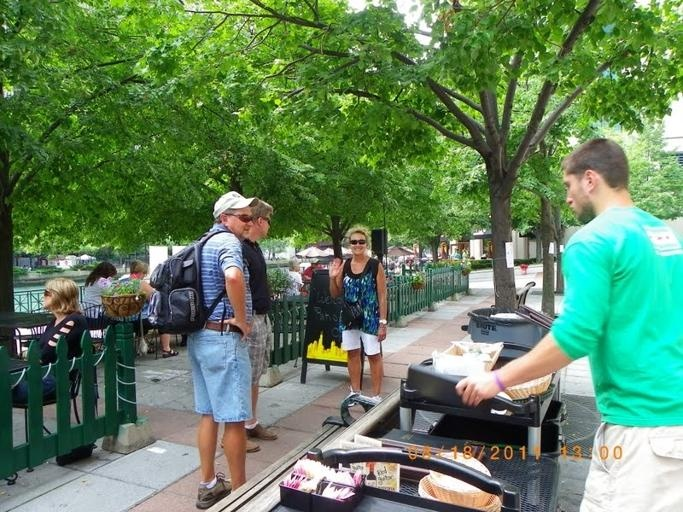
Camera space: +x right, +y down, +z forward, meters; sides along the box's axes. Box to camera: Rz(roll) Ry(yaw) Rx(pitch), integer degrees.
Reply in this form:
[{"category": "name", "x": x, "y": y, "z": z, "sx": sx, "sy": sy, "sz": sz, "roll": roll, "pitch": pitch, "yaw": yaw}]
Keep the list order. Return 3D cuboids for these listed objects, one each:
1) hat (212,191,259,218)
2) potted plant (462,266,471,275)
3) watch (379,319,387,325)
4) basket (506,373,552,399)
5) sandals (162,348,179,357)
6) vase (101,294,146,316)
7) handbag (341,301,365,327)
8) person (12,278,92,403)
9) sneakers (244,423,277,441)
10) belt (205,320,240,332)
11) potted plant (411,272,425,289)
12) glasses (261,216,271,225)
[{"category": "hat", "x": -0.954, "y": -0.425, "z": 4.764, "sx": 0.323, "sy": 0.170, "sz": 0.213, "roll": -29, "pitch": 11, "yaw": 1}, {"category": "potted plant", "x": 5.122, "y": 0.633, "z": 22.209, "sx": 0.320, "sy": 0.239, "sz": 0.332, "roll": 2, "pitch": 10, "yaw": 8}, {"category": "watch", "x": 0.496, "y": 0.768, "z": 6.334, "sx": 0.073, "sy": 0.051, "sz": 0.076, "roll": 1, "pitch": -4, "yaw": 1}, {"category": "basket", "x": 1.155, "y": 0.813, "z": 3.317, "sx": 0.234, "sy": 0.074, "sz": 0.236, "roll": -33, "pitch": -18, "yaw": 37}, {"category": "sandals", "x": -3.033, "y": 1.738, "z": 9.614, "sx": 0.127, "sy": 0.103, "sz": 0.258, "roll": 2, "pitch": 1, "yaw": 19}, {"category": "vase", "x": -3.387, "y": 0.783, "z": 8.418, "sx": 0.626, "sy": 0.412, "sz": 0.377, "roll": -1, "pitch": 3, "yaw": -21}, {"category": "handbag", "x": 0.112, "y": 0.704, "z": 6.387, "sx": 0.284, "sy": 0.318, "sz": 0.100, "roll": 3, "pitch": 4, "yaw": 33}, {"category": "person", "x": -3.083, "y": 0.885, "z": 5.564, "sx": 0.716, "sy": 1.279, "sz": 0.605, "roll": 3, "pitch": -7, "yaw": -36}, {"category": "sneakers", "x": -0.858, "y": 1.898, "z": 5.822, "sx": 0.369, "sy": 0.167, "sz": 0.138, "roll": 0, "pitch": -1, "yaw": -2}, {"category": "belt", "x": -0.967, "y": 0.578, "z": 4.399, "sx": 0.281, "sy": 0.098, "sz": 0.051, "roll": 0, "pitch": 3, "yaw": -2}, {"category": "potted plant", "x": 2.094, "y": 0.680, "z": 15.035, "sx": 0.418, "sy": 0.341, "sz": 0.418, "roll": 0, "pitch": 2, "yaw": -22}, {"category": "glasses", "x": -0.776, "y": -0.355, "z": 5.486, "sx": 0.077, "sy": 0.081, "sz": 0.056, "roll": -16, "pitch": 14, "yaw": -41}]
